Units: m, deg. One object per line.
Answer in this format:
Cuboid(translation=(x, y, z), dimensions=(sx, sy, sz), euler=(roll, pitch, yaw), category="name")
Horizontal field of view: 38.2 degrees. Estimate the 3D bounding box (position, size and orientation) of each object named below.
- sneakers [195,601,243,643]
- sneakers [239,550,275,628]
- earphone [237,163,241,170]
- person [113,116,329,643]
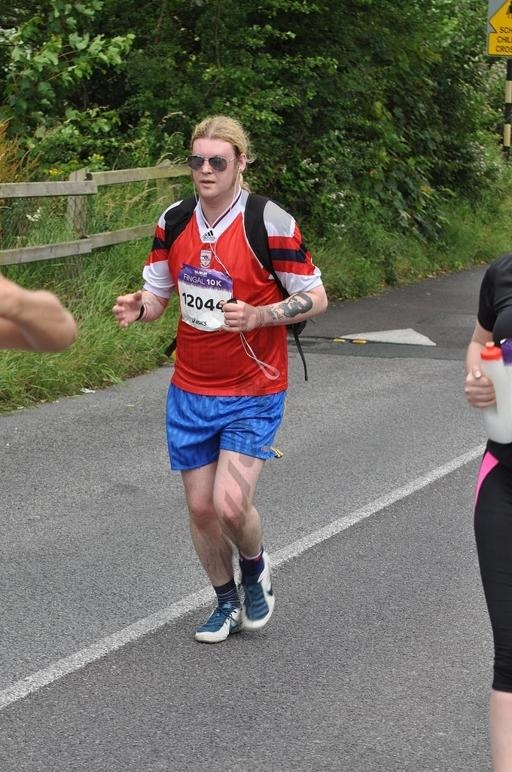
Cuboid(translation=(-0.137, 0.945, 3.016), dimensions=(0.097, 0.104, 0.249), euler=(3, 8, 33), category="sneakers")
Cuboid(translation=(0.006, 0.818, 2.940), dimensions=(0.122, 0.330, 0.154), euler=(-7, -3, 24), category="sneakers")
Cuboid(translation=(-0.062, -0.831, 2.784), dimensions=(0.007, 0.028, 0.008), euler=(-6, -15, 2), category="earphone")
Cuboid(translation=(-0.141, -0.008, 2.862), dimensions=(0.697, 2.070, 0.515), euler=(4, 10, 31), category="person")
